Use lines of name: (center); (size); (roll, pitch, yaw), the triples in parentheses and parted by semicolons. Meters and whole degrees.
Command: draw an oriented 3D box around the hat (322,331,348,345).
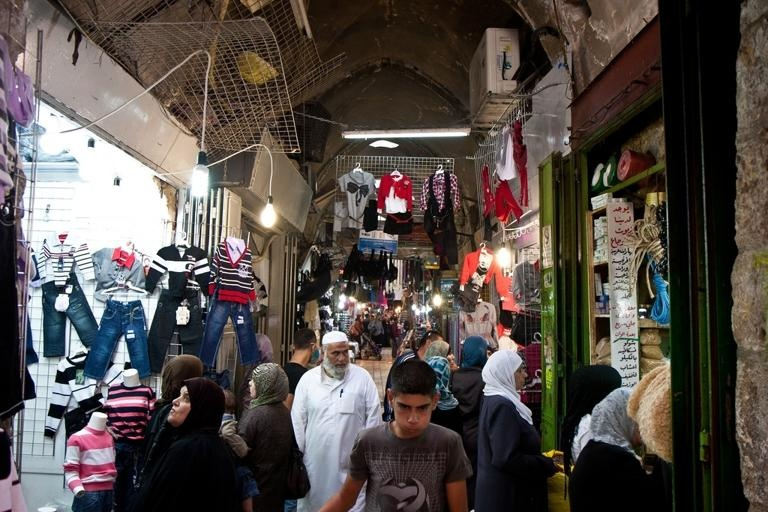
hat: (-0.384, 0.616, 4.537); (0.122, 0.087, 0.127); (2, -11, -18)

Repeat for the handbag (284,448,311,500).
handbag: (-0.620, 1.561, 4.199); (0.163, 0.399, 0.359); (-1, -13, -2)

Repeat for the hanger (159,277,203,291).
hanger: (-2.135, 0.273, 6.185); (0.427, 0.145, 0.167); (4, -12, -20)

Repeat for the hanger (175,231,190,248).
hanger: (-2.205, -0.198, 6.482); (0.085, 0.153, 0.155); (3, -47, -8)

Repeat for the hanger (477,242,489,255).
hanger: (1.552, -0.142, 9.271); (0.116, 0.214, 0.202); (1, 0, 5)

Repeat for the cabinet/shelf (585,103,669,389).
cabinet/shelf: (2.190, -0.063, 5.268); (0.570, 2.348, 1.135); (3, -11, -15)

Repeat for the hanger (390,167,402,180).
hanger: (0.180, -1.249, 8.633); (0.152, 0.187, 0.063); (-2, -1, -5)

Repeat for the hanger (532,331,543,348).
hanger: (1.714, 0.938, 6.799); (0.183, 0.198, 0.113); (0, -1, 2)

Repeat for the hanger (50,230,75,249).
hanger: (-3.346, -0.169, 6.124); (0.300, 0.212, 0.086); (-3, -11, 11)

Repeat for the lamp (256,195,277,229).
lamp: (-1.583, -0.638, 7.977); (0.177, 0.425, 0.180); (20, -55, -20)

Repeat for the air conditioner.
air conditioner: (1.507, -2.510, 8.026); (0.499, 1.106, 0.977); (2, -11, -12)

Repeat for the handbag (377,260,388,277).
handbag: (-0.053, 0.247, 11.966); (0.221, 0.348, 0.077); (2, -9, -17)

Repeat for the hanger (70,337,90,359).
hanger: (-3.093, 0.934, 6.021); (0.134, 0.266, 0.088); (-8, -2, 4)
